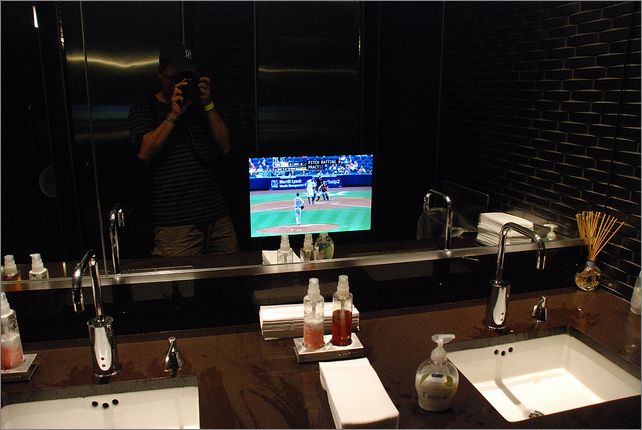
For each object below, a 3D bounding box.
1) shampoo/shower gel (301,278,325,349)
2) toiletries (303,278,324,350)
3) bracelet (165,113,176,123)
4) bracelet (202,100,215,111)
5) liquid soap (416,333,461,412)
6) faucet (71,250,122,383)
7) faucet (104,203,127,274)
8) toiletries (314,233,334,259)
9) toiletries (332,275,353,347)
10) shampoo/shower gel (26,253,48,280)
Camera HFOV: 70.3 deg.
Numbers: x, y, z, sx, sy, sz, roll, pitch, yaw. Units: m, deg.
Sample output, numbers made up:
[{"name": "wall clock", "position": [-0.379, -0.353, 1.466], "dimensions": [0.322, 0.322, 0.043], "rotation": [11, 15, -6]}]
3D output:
[{"name": "shampoo/shower gel", "position": [-0.027, 0.378, 1.698], "dimensions": [0.079, 0.259, 0.077], "rotation": [0, 7, 8]}, {"name": "toiletries", "position": [-0.033, 0.360, 1.680], "dimensions": [0.084, 0.255, 0.111], "rotation": [-4, 19, 0]}, {"name": "bracelet", "position": [-0.543, -0.347, 1.644], "dimensions": [0.025, 0.034, 0.038], "rotation": [2, 8, -45]}, {"name": "bracelet", "position": [-0.407, -0.392, 1.642], "dimensions": [0.032, 0.021, 0.032], "rotation": [-25, 7, 13]}, {"name": "liquid soap", "position": [0.382, 0.539, 1.572], "dimensions": [0.166, 0.228, 0.156], "rotation": [-1, 7, -3]}, {"name": "faucet", "position": [-0.782, 0.363, 1.561], "dimensions": [0.105, 0.430, 0.170], "rotation": [-1, 15, 0]}, {"name": "faucet", "position": [-0.736, 0.086, 1.668], "dimensions": [0.055, 0.210, 0.090], "rotation": [2, 19, -13]}, {"name": "toiletries", "position": [0.010, 0.117, 1.798], "dimensions": [0.061, 0.149, 0.061], "rotation": [14, 26, 32]}, {"name": "toiletries", "position": [0.074, 0.342, 1.718], "dimensions": [0.086, 0.267, 0.138], "rotation": [-3, 19, 5]}, {"name": "shampoo/shower gel", "position": [-1.033, 0.181, 1.649], "dimensions": [0.050, 0.124, 0.050], "rotation": [35, 37, 26]}]
